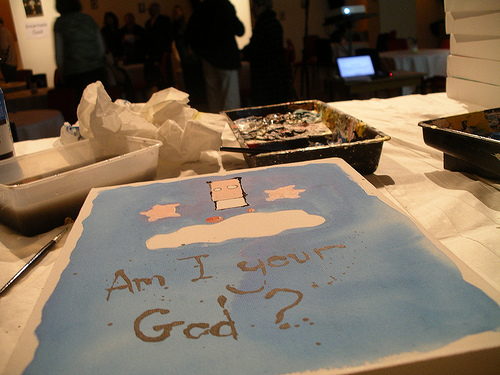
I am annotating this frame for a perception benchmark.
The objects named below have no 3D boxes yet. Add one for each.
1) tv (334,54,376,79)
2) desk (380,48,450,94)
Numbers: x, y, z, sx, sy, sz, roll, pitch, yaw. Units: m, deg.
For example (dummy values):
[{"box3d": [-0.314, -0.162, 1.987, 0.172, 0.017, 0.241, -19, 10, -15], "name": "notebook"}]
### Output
[{"box3d": [0.726, -0.793, 2.598, 0.291, 0.122, 0.177, -16, 25, -26], "name": "tv"}, {"box3d": [1.322, -0.964, 3.216, 0.783, 0.277, 0.504, -20, 27, -32], "name": "desk"}]
